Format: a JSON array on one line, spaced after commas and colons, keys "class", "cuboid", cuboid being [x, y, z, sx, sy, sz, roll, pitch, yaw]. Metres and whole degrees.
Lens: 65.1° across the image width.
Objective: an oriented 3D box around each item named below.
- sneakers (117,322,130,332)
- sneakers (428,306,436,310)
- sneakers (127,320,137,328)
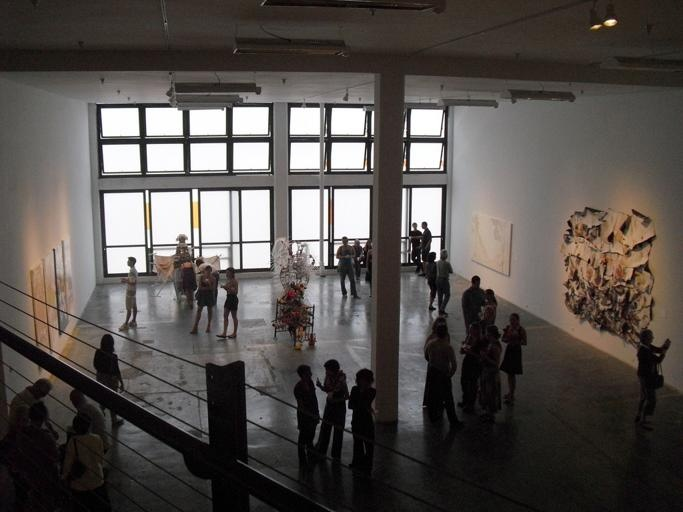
[{"class": "sneakers", "cuboid": [-5.236, 1.697, 12.858, 0.311, 0.244, 0.134, 7, 10, 26]}, {"class": "sneakers", "cuboid": [2.450, 1.398, 14.380, 0.179, 0.119, 0.103, -3, 10, 4]}, {"class": "sneakers", "cuboid": [-5.043, 1.639, 12.936, 0.103, 0.120, 0.265, -10, 20, -42]}]
